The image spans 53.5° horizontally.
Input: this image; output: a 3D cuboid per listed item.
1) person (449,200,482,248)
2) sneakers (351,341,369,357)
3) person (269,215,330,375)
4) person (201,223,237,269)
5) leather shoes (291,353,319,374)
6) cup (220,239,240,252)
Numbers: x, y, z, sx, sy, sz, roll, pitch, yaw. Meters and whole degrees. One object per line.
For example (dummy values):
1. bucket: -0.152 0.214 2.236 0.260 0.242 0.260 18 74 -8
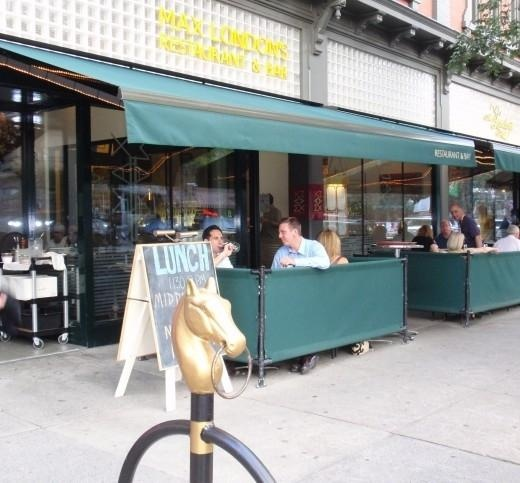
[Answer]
1. person: 4.001 -0.301 10.107 0.515 0.822 0.593 0 -1 20
2. sneakers: 1.301 1.376 6.804 0.141 0.172 0.261 -2 -2 42
3. person: 0.491 0.578 6.129 0.667 1.783 0.937 0 -1 -3
4. person: -0.504 0.051 6.312 0.388 0.503 1.206 0 -1 -7
5. leather shoes: 0.504 1.393 5.946 0.144 0.103 0.269 -1 3 36
6. cup: -0.414 0.058 6.590 0.297 0.228 0.125 5 8 2
